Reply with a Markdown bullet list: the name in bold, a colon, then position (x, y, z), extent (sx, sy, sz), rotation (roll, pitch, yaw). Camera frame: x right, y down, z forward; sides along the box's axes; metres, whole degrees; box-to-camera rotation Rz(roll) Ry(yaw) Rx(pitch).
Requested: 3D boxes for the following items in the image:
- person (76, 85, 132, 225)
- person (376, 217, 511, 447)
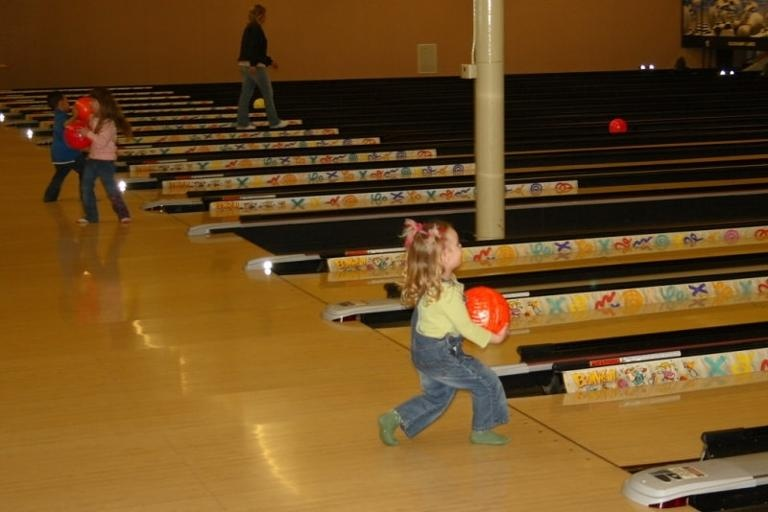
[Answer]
- **person**: position (-2.511, -0.884, 5.435), extent (0.637, 1.194, 0.346), rotation (6, 18, 31)
- **person**: position (0.220, 0.304, 2.353), extent (0.507, 0.906, 0.202), rotation (-2, 15, 4)
